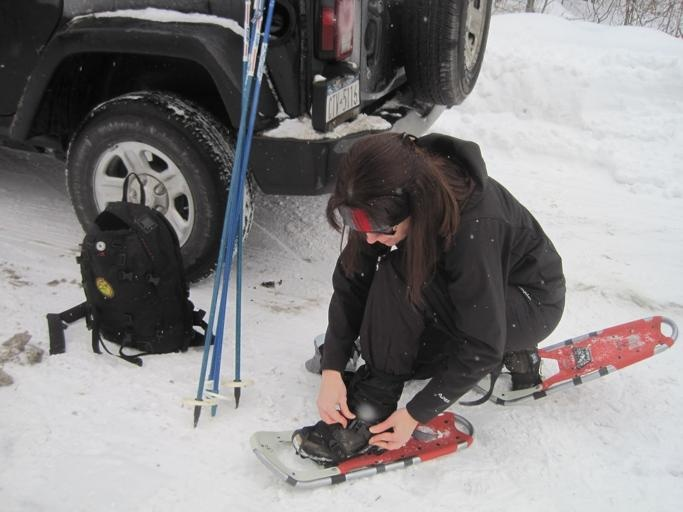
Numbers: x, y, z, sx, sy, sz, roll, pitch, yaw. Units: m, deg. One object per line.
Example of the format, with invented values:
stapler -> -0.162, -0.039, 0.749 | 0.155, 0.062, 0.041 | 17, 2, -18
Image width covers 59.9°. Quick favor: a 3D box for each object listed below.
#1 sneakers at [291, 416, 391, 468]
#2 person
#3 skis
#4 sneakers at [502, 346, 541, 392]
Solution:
sneakers -> -0.030, 0.730, 2.382 | 0.287, 0.145, 0.169 | 3, 29, -13
person -> 0.338, 0.069, 2.444 | 1.260, 1.257, 0.837 | -14, 25, -24
skis -> 0.521, 0.646, 2.517 | 1.415, 0.073, 0.293 | -18, 31, -19
sneakers -> 0.821, 0.512, 2.679 | 0.150, 0.206, 0.092 | -2, 22, 13
